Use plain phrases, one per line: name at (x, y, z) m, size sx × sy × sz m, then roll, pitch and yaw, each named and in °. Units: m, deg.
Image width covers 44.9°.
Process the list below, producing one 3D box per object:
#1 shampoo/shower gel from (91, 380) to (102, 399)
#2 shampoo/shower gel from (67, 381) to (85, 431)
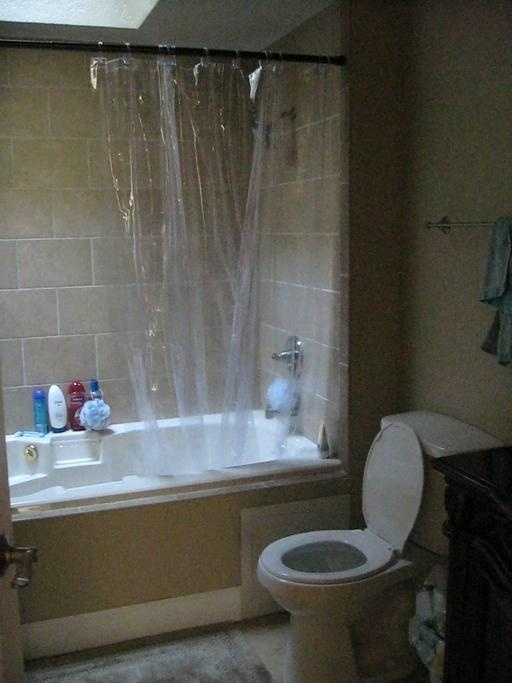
shampoo/shower gel at (-0.721, 0.213, 2.795) m, size 0.054 × 0.086 × 0.105 m, roll -3°, pitch 0°, yaw -17°
shampoo/shower gel at (-0.814, 0.288, 2.824) m, size 0.098 × 0.233 × 0.079 m, roll -2°, pitch 14°, yaw -26°
